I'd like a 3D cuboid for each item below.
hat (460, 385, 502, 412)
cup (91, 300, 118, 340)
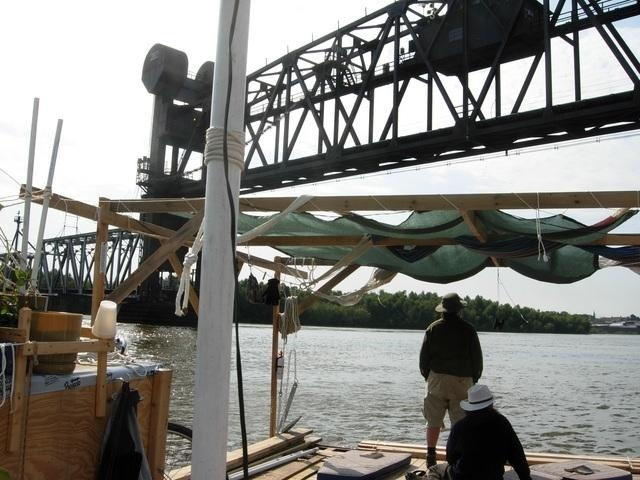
[{"bbox_3d":[1.838,1.835,7.363,0.390,0.159,0.331,-15,6,-34],"label":"hat"},{"bbox_3d":[-2.152,0.784,6.346,0.228,0.385,0.260,5,-9,-21],"label":"cup"}]
